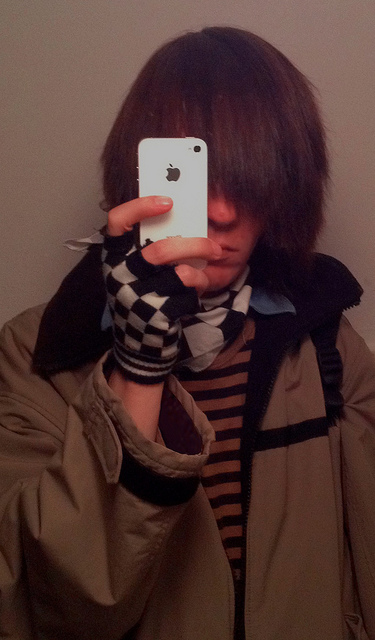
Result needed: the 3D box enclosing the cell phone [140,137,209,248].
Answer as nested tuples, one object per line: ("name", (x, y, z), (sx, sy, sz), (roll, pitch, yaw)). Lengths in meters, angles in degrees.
("cell phone", (-0.021, -0.187, 0.859), (0.098, 0.145, 0.074), (0, 30, 3))
